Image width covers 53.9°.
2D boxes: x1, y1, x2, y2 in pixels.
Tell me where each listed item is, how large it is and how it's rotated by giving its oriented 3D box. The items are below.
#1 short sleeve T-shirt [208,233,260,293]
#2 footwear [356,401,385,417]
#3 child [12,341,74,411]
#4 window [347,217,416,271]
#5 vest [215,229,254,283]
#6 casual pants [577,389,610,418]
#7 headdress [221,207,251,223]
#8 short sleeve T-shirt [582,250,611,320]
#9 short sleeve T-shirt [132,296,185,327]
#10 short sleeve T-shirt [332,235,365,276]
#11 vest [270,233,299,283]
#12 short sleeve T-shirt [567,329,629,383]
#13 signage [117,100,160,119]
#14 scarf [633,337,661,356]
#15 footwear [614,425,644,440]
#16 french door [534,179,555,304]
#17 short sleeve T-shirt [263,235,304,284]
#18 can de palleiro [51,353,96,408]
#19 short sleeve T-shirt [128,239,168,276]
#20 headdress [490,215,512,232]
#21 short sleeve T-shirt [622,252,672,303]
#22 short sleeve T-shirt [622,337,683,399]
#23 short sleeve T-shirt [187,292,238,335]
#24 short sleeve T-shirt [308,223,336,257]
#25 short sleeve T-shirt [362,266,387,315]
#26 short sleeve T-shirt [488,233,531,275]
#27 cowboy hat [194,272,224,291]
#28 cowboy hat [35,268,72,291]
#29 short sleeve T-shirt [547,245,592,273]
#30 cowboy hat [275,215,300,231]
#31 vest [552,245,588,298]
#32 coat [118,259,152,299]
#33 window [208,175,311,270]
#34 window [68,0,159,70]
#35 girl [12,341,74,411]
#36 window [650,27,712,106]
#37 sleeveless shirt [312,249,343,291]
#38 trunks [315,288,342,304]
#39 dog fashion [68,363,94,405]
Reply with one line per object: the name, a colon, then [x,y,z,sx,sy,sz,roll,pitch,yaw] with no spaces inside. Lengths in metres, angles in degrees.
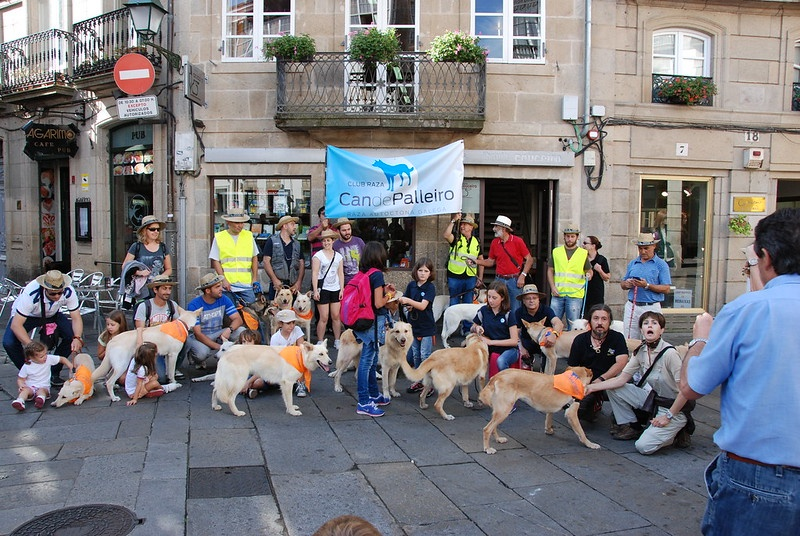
short sleeve T-shirt: [-3.026,-0.061,14.387,1.041,1.344,0.481,-2,2,-24]
footwear: [-0.465,2.226,12.210,0.447,0.206,0.188,3,15,2]
child: [-5.593,1.703,12.385,0.842,0.827,1.180,4,15,-14]
window: [-0.375,-0.512,15.786,1.019,1.109,0.050,2,5,2]
vest: [-3.039,-0.186,14.402,0.898,1.263,0.629,1,-2,-21]
casual pants: [2.933,2.124,12.244,0.361,0.537,0.534,1,5,0]
headdress: [-2.986,-0.933,14.348,0.400,0.177,0.438,-3,9,-29]
short sleeve T-shirt: [3.693,0.499,15.137,0.608,1.858,0.508,0,3,20]
short sleeve T-shirt: [-4.039,0.556,13.267,0.820,0.824,0.421,-1,6,-43]
short sleeve T-shirt: [-0.994,-0.131,15.571,0.711,0.943,0.321,-8,20,-11]
vest: [-2.228,-0.151,15.094,0.503,0.975,0.863,-4,-5,45]
short sleeve T-shirt: [3.057,1.286,12.379,1.225,1.074,0.662,2,-1,22]
signage: [-5.447,-3.335,16.389,0.820,0.455,0.514,-1,7,-9]
scarf: [3.648,1.183,11.736,0.251,0.186,0.337,8,-3,11]
footwear: [3.361,2.454,11.690,0.485,0.226,0.184,0,2,2]
french door: [3.447,-0.685,19.412,0.234,2.757,1.729,-3,13,14]
short sleeve T-shirt: [-2.237,-0.178,15.275,0.769,0.902,0.481,4,-7,-37]
can de palleiro: [-5.082,1.760,12.480,0.399,0.311,0.875,7,39,-9]
short sleeve T-shirt: [-4.486,-0.145,14.030,0.301,0.541,0.537,-20,-16,40]
headdress: [2.045,-0.894,15.766,0.403,0.167,0.369,21,4,3]
short sleeve T-shirt: [4.416,0.197,14.142,0.531,0.903,0.893,2,2,-44]
short sleeve T-shirt: [3.780,1.473,11.704,0.935,0.854,0.472,2,12,43]
short sleeve T-shirt: [-3.254,0.823,13.774,0.497,0.882,0.613,2,25,5]
short sleeve T-shirt: [-1.498,-0.527,15.292,0.563,0.745,0.413,2,-14,-3]
short sleeve T-shirt: [-0.292,0.434,12.338,0.462,0.767,0.532,-6,-14,11]
short sleeve T-shirt: [2.169,-0.260,15.884,0.815,0.846,0.484,-1,3,24]
cowboy hat: [-3.291,0.256,13.531,0.318,0.118,0.295,-25,8,23]
cowboy hat: [-5.667,0.187,12.866,0.348,0.124,0.387,-11,38,-45]
short sleeve T-shirt: [3.205,-0.184,14.948,0.767,0.577,0.410,2,0,22]
cowboy hat: [-2.150,-0.883,15.054,0.355,0.131,0.335,-27,0,-15]
vest: [3.213,0.096,15.077,0.671,1.060,0.515,3,-2,24]
coat: [-4.661,0.218,13.826,0.563,0.622,0.274,7,6,5]
window: [-2.886,-0.966,16.094,1.873,1.695,0.086,0,2,-4]
window: [-6.440,-5.233,17.882,2.241,1.417,0.112,-5,-5,38]
girl: [-5.587,1.710,12.373,0.829,0.827,1.173,4,15,-12]
window: [6.239,-4.517,17.736,1.558,1.893,0.109,2,-1,-4]
sleeveless shirt: [-1.345,0.081,14.606,0.676,0.868,0.434,-1,6,-13]
trunks: [-1.326,0.456,14.709,0.417,0.429,0.250,0,2,-25]
dog fashion: [-5.002,1.855,12.460,0.228,0.626,0.273,10,-44,-28]
